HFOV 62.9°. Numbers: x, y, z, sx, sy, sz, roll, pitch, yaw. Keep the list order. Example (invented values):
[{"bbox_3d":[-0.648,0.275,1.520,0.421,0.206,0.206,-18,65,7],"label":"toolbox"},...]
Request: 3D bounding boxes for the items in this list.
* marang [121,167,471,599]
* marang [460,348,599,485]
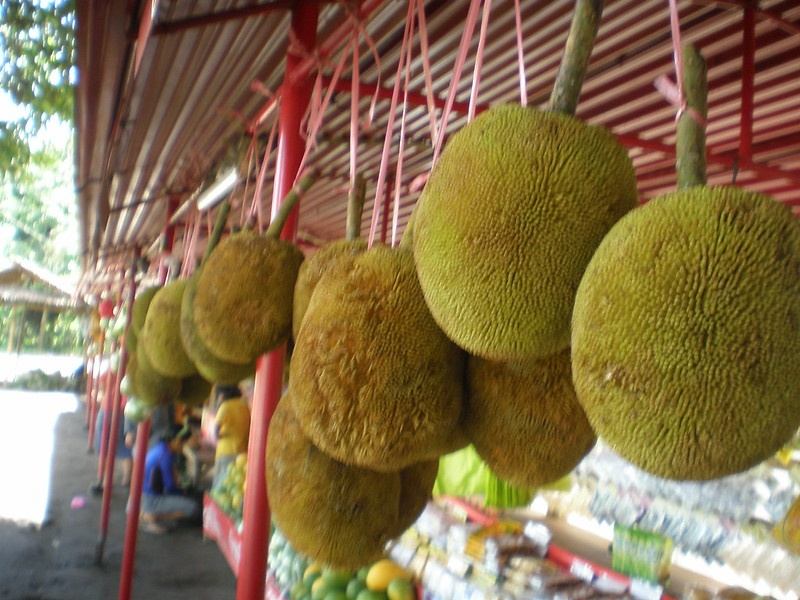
[{"bbox_3d":[-0.218,0.042,1.648,0.604,0.442,1.125,1,12,-4],"label":"marang"},{"bbox_3d":[0.288,0.242,1.366,0.250,0.310,0.308,-15,-20,42],"label":"marang"}]
